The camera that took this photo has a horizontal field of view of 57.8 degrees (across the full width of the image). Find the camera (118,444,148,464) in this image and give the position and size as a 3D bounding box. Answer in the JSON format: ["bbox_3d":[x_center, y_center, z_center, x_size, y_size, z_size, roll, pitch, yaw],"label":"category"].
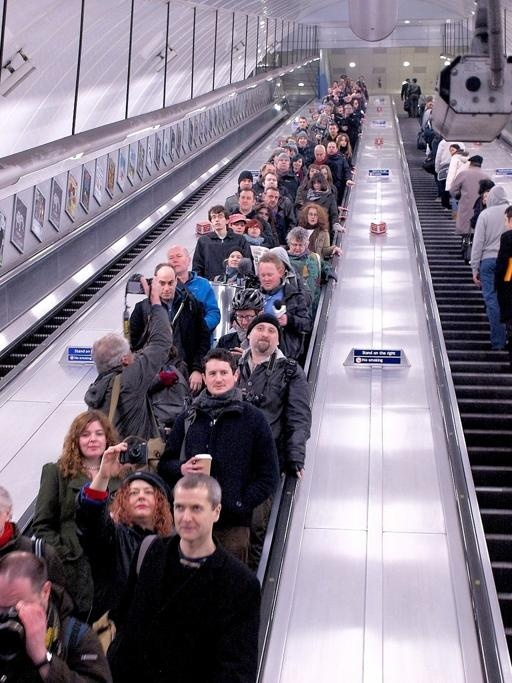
[{"bbox_3d":[-0.593,0.557,2.296,0.159,0.146,0.101,1,-14,-11],"label":"camera"}]

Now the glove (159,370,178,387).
[{"bbox_3d":[-0.707,0.298,3.793,0.098,0.134,0.057,-21,-18,-41],"label":"glove"}]

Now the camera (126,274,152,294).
[{"bbox_3d":[-1.037,-0.491,4.079,0.206,0.135,0.284,-1,8,-3],"label":"camera"}]

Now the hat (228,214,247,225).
[{"bbox_3d":[-0.277,-1.872,7.133,0.285,0.154,0.429,0,-2,-2],"label":"hat"}]

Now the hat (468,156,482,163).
[{"bbox_3d":[4.604,-3.779,9.739,0.237,0.197,0.382,-1,21,22],"label":"hat"}]

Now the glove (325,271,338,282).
[{"bbox_3d":[1.264,-1.079,7.659,0.145,0.169,0.159,-5,-8,6],"label":"glove"}]
